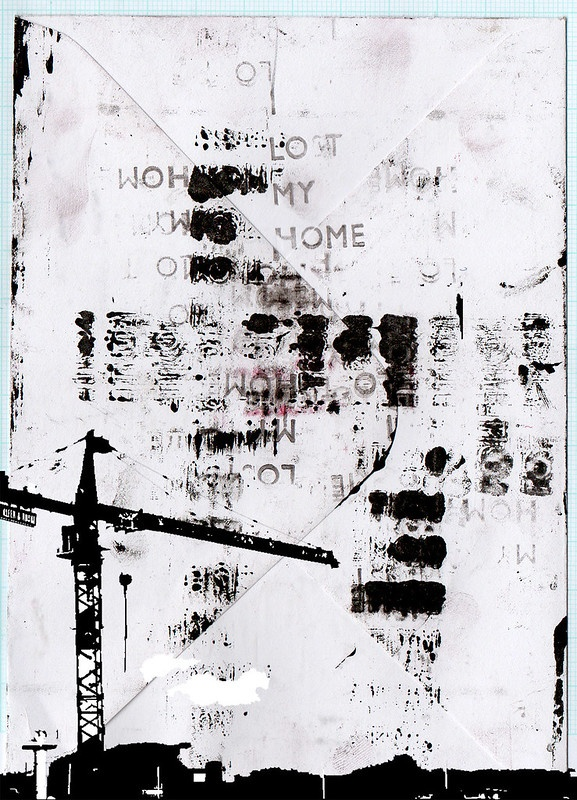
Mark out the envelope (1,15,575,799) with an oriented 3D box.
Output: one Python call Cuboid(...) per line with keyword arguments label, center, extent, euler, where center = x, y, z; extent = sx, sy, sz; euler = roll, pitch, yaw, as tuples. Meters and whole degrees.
Cuboid(label="envelope", center=(0.002, 0.036, 4.047), extent=(0.917, 0.056, 2.020), euler=(0, 89, 6))
